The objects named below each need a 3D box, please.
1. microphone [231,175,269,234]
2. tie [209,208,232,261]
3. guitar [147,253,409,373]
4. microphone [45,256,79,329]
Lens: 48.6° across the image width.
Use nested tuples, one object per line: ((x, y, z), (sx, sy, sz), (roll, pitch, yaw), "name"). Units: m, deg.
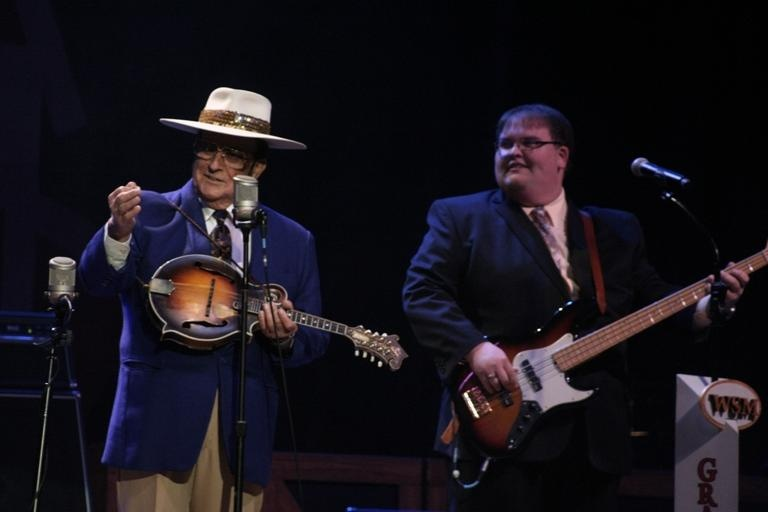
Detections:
((-0.777, -0.297, 4.870), (0.207, 0.317, 0.178), (5, 4, -17), "microphone")
((-0.980, -0.128, 5.107), (0.148, 0.268, 0.070), (2, -7, -15), "tie")
((-0.557, 0.363, 5.114), (1.756, 0.597, 0.230), (14, -20, -17), "guitar")
((-2.182, 0.247, 5.681), (0.185, 0.465, 0.240), (4, 5, -21), "microphone")
